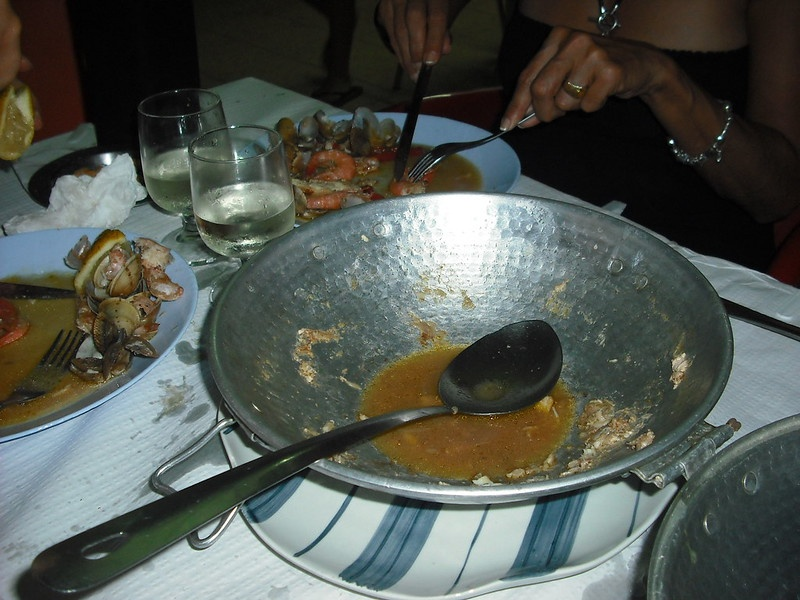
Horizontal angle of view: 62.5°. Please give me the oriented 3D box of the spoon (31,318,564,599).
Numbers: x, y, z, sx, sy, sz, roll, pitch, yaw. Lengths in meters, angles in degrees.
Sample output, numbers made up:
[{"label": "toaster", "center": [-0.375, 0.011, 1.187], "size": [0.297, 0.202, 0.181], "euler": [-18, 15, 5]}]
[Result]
[{"label": "spoon", "center": [-0.044, 0.164, 0.735], "size": [0.646, 0.120, 0.123], "euler": [-27, 56, -29]}]

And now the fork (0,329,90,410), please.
[{"label": "fork", "center": [-0.471, 0.087, 0.926], "size": [0.038, 0.033, 0.185], "euler": [32, 24, 1]}]

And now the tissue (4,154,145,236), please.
[{"label": "tissue", "center": [-0.542, -0.175, 1.122], "size": [0.200, 0.076, 0.125], "euler": [-19, 77, -44]}]
